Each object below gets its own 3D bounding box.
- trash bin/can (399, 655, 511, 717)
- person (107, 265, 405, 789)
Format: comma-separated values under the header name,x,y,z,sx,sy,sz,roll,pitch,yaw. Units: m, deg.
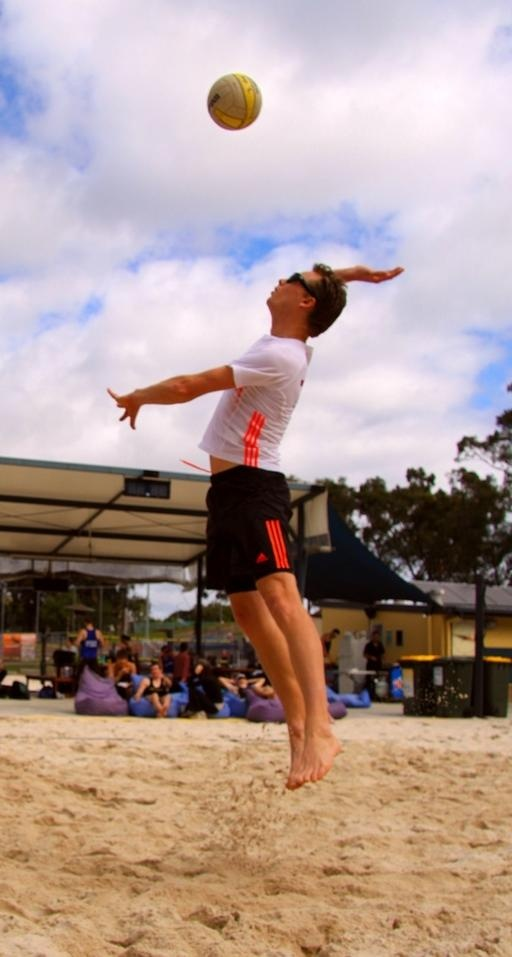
name,x,y,z,sx,sy,sz,roll,pitch,yaw
trash bin/can,2.626,2.712,11.147,1.386,0.773,0.624,0,-4,1
person,0.025,0.063,3.168,0.918,1.987,0.567,0,-4,8
